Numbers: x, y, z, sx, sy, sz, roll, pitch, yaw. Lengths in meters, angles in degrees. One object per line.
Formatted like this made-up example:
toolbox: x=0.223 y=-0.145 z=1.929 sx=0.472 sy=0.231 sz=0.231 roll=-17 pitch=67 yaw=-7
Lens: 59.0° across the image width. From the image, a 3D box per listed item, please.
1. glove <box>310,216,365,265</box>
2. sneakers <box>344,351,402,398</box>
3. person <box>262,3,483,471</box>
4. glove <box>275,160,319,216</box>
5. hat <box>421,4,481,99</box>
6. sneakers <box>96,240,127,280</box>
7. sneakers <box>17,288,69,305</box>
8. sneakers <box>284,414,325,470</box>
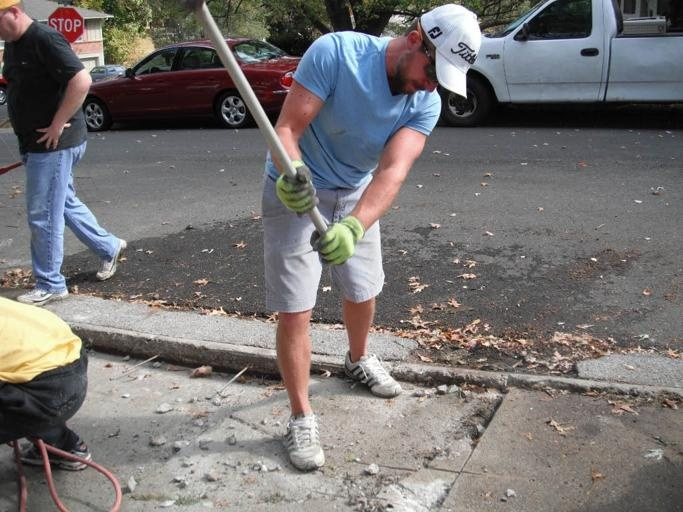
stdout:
glove: x=-0.001 y=-0.073 z=3.039 sx=0.267 sy=0.127 sz=0.203 roll=-42 pitch=42 yaw=-7
sneakers: x=0.198 y=0.754 z=3.796 sx=0.443 sy=0.166 sz=0.175 roll=22 pitch=38 yaw=30
person: x=0.049 y=-0.139 z=3.341 sx=1.311 sy=2.306 sz=0.724 roll=-17 pitch=26 yaw=-30
glove: x=-0.177 y=-0.331 z=2.925 sx=0.198 sy=0.249 sz=0.123 roll=-26 pitch=16 yaw=35
hat: x=0.581 y=-1.053 z=3.077 sx=0.332 sy=0.455 sz=0.396 roll=-6 pitch=22 yaw=-8
sneakers: x=-2.111 y=0.060 z=5.506 sx=0.167 sy=0.419 sz=0.204 roll=19 pitch=1 yaw=33
sneakers: x=-2.398 y=0.328 z=4.855 sx=0.495 sy=0.175 sz=0.174 roll=1 pitch=2 yaw=-29
sneakers: x=-0.193 y=1.003 z=3.285 sx=0.149 sy=0.142 sz=0.349 roll=-5 pitch=13 yaw=-13
